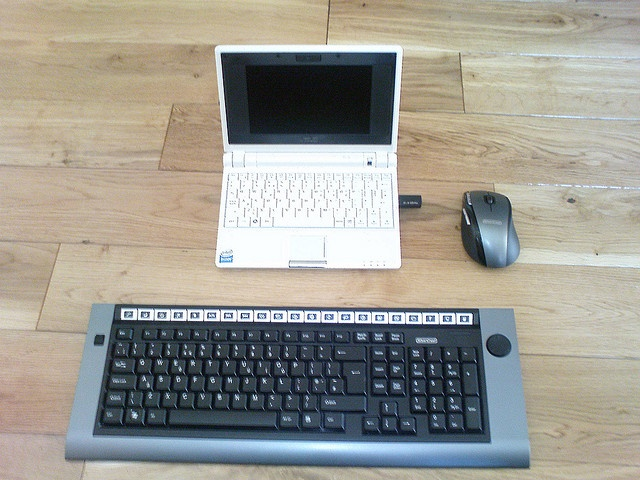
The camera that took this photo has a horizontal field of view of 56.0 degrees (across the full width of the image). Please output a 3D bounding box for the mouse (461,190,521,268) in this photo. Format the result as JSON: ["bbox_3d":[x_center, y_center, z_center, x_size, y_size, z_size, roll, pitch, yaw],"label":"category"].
[{"bbox_3d":[0.363,-0.026,1.341,0.125,0.040,0.156,3,62,-5],"label":"mouse"}]

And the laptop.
[{"bbox_3d":[0.018,-0.175,1.284,0.485,0.249,0.364,-8,67,-23],"label":"laptop"}]
